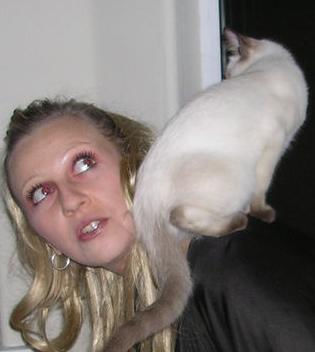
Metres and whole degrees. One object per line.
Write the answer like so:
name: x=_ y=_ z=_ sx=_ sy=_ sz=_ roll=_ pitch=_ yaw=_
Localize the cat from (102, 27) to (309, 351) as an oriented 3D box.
cat: x=0.069 y=0.046 z=0.855 sx=0.433 sy=0.523 sz=0.234 roll=-13 pitch=31 yaw=-17
